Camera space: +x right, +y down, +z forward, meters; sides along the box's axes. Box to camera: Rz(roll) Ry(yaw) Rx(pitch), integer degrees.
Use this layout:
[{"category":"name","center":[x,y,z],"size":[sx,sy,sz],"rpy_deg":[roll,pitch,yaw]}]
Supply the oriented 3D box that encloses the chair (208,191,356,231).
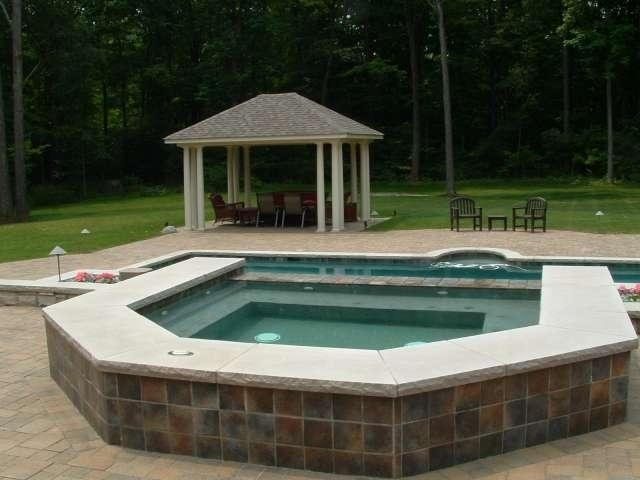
[{"category":"chair","center":[-1.370,-1.058,19.432],"size":[4.506,1.150,2.529],"rpy_deg":[2,7,19]}]
